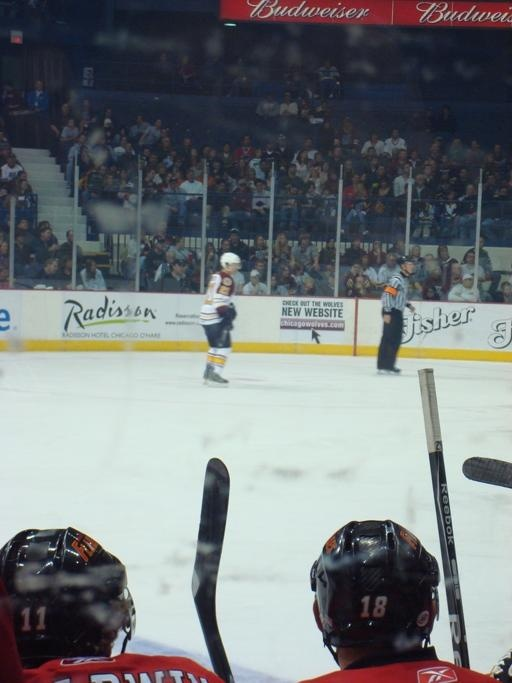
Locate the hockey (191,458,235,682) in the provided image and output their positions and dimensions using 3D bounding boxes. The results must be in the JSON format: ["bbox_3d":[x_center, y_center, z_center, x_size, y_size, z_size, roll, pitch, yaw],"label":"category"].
[{"bbox_3d":[-0.109,0.638,2.744,0.082,0.716,0.073,-5,24,7],"label":"hockey"}]

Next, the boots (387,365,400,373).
[{"bbox_3d":[1.522,0.322,11.536,0.141,0.073,0.322,4,4,10],"label":"boots"}]

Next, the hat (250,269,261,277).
[{"bbox_3d":[-0.019,-0.920,14.054,0.094,0.073,0.141,-4,-4,-18],"label":"hat"}]

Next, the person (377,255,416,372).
[{"bbox_3d":[1.590,-0.306,11.796,0.371,1.295,1.035,5,5,7],"label":"person"}]

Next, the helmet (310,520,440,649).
[{"bbox_3d":[0.251,0.505,2.273,0.241,0.263,0.293,-1,7,6],"label":"helmet"}]

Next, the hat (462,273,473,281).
[{"bbox_3d":[2.763,-0.848,13.645,0.121,0.084,0.192,4,4,9],"label":"hat"}]

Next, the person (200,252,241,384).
[{"bbox_3d":[-0.382,-0.245,10.299,0.355,1.271,0.998,4,5,-2],"label":"person"}]
